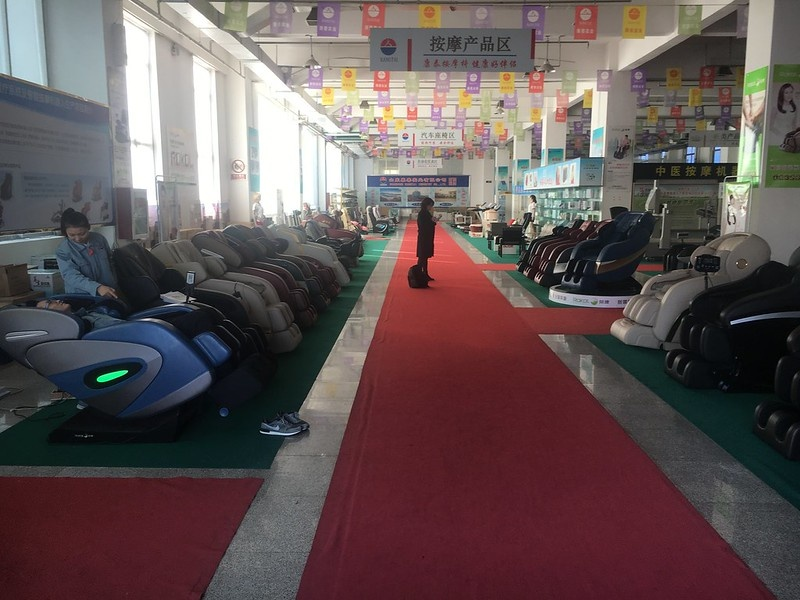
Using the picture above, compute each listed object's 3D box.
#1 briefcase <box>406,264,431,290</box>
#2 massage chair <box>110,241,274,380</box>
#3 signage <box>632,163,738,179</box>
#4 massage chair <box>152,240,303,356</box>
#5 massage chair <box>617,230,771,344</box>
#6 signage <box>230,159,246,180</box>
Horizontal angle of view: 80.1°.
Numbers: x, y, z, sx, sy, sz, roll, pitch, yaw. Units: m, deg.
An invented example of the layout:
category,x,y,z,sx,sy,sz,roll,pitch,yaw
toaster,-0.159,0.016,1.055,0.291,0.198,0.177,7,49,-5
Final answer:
category,x,y,z,sx,sy,sz,roll,pitch,yaw
briefcase,0.315,-0.404,8.689,0.435,0.428,0.320,-1,5,-4
massage chair,-1.872,0.028,4.625,1.701,1.507,1.132,2,11,9
signage,7.567,-3.436,12.791,2.674,0.486,0.308,0,13,0
massage chair,-1.871,-0.069,5.553,1.519,1.108,1.149,7,11,-2
massage chair,3.017,-0.159,5.212,1.522,1.292,1.202,0,6,7
signage,-4.765,-3.859,14.066,0.618,0.829,0.087,1,9,2
